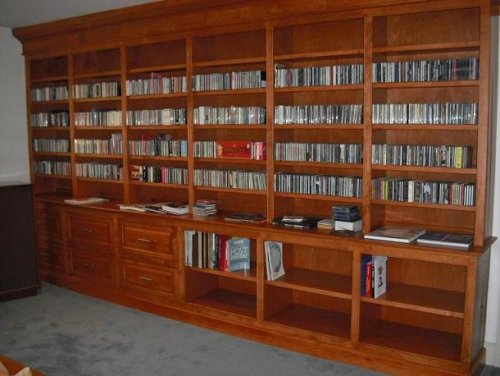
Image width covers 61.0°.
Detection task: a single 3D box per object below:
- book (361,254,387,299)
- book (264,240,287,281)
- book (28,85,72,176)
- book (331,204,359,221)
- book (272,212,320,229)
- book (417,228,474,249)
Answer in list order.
[{"bbox_3d":[1.163,0.842,4.052,0.161,0.391,0.434,1,8,32],"label":"book"},{"bbox_3d":[0.274,0.745,4.539,0.106,0.421,0.284,6,13,41],"label":"book"},{"bbox_3d":[-2.906,-0.837,6.206,0.925,1.195,0.312,6,11,36],"label":"book"},{"bbox_3d":[0.943,0.251,4.298,0.193,0.112,0.193,-6,6,-42],"label":"book"},{"bbox_3d":[0.510,0.334,4.558,0.446,0.096,0.429,3,10,24],"label":"book"},{"bbox_3d":[1.796,0.448,3.911,0.454,0.062,0.474,3,10,27],"label":"book"}]
